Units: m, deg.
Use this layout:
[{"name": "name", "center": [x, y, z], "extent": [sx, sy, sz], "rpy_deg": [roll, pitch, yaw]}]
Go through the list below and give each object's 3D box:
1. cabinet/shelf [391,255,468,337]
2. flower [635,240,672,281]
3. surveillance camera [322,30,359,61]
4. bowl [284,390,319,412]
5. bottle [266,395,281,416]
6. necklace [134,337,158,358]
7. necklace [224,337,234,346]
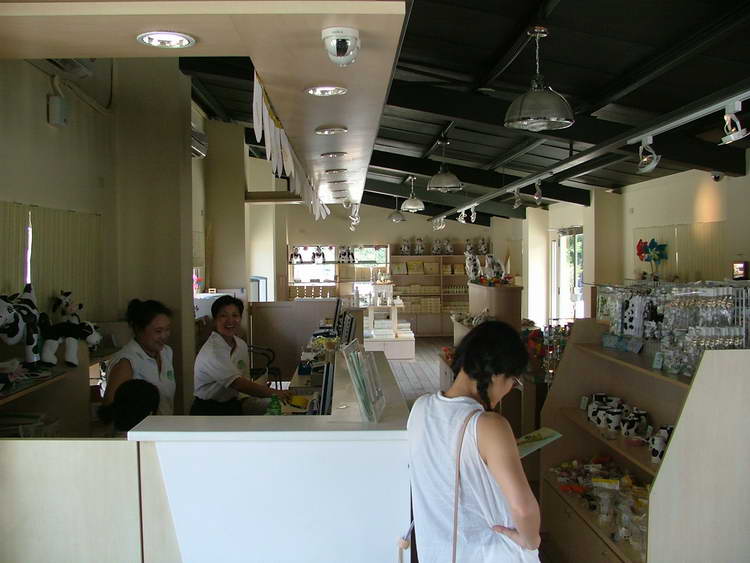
[{"name": "cabinet/shelf", "center": [1.461, 0.392, 15.864], "extent": [2.140, 2.292, 0.615], "rpy_deg": [0, -4, -7]}, {"name": "flower", "center": [4.538, -0.372, 8.971], "extent": [0.471, 0.853, 0.596], "rpy_deg": [-7, 8, -39]}, {"name": "surveillance camera", "center": [-0.154, -1.036, 2.394], "extent": [0.117, 0.105, 0.128], "rpy_deg": [-1, 2, -2]}, {"name": "bowl", "center": [-0.542, 0.856, 3.966], "extent": [0.133, 0.085, 0.239], "rpy_deg": [-1, -4, -24]}, {"name": "bottle", "center": [-0.675, 0.820, 3.654], "extent": [0.072, 0.097, 0.169], "rpy_deg": [-5, 4, -17]}, {"name": "necklace", "center": [-1.641, 0.479, 3.992], "extent": [0.168, 0.108, 0.132], "rpy_deg": [26, 4, 27]}, {"name": "necklace", "center": [-1.213, 0.496, 4.564], "extent": [0.052, 0.072, 0.072], "rpy_deg": [-5, 1, 0]}]
